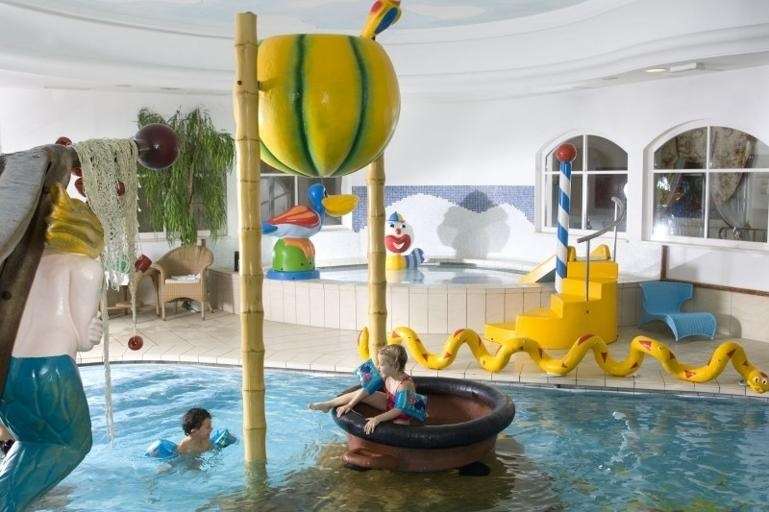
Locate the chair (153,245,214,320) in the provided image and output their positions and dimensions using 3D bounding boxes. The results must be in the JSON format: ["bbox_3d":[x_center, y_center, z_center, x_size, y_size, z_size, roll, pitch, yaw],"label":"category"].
[{"bbox_3d":[-3.163,0.340,8.894,0.932,1.085,0.911,-1,1,11],"label":"chair"}]

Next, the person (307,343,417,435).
[{"bbox_3d":[-0.123,1.070,4.571,0.926,0.643,0.743,7,10,14],"label":"person"}]

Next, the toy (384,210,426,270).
[{"bbox_3d":[0.331,-0.291,10.604,0.734,1.104,0.521,-7,15,-24],"label":"toy"}]

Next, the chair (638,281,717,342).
[{"bbox_3d":[3.984,0.728,7.602,0.712,0.644,0.940,-1,4,-3],"label":"chair"}]
